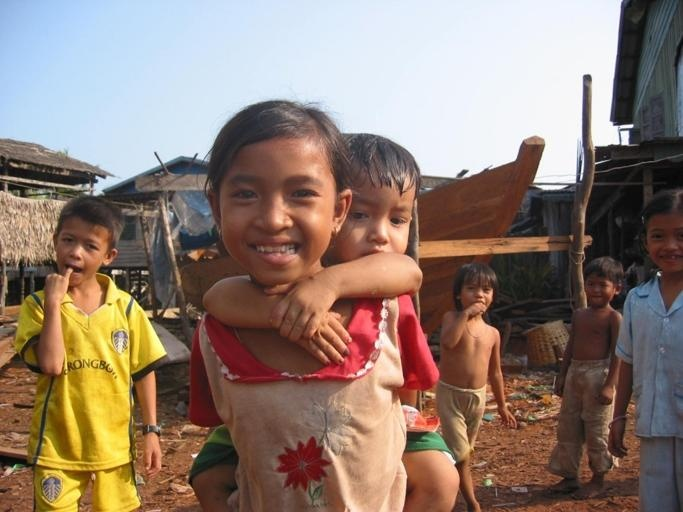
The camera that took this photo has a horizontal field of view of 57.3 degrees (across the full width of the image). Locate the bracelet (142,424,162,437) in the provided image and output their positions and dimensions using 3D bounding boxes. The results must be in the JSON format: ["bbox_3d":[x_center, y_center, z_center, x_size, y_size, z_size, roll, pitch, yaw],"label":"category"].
[{"bbox_3d":[-1.222,1.114,4.032,0.113,0.070,0.115,7,-14,-24],"label":"bracelet"}]

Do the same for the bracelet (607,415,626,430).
[{"bbox_3d":[1.796,1.085,4.097,0.105,0.032,0.083,-24,-19,33],"label":"bracelet"}]
